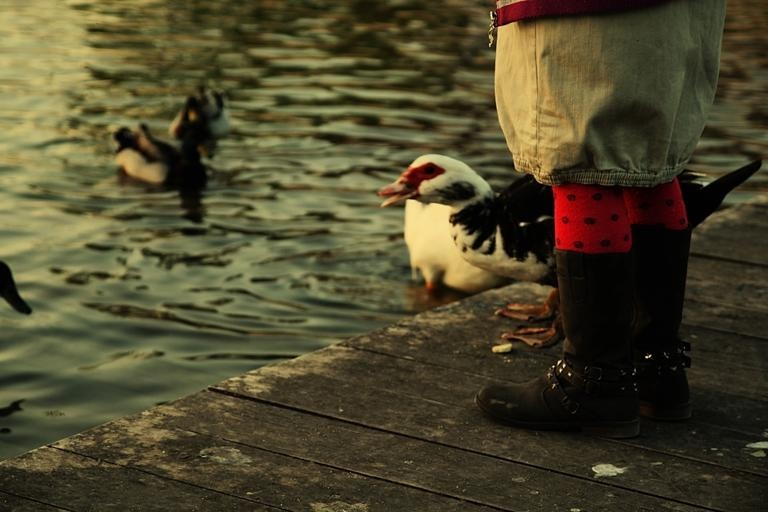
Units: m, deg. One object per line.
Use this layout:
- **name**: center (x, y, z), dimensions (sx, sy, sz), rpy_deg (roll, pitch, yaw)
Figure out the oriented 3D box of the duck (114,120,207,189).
- **duck**: center (-2.243, -1.002, 9.837), dimensions (0.820, 0.582, 0.926), rpy_deg (-4, 14, -11)
